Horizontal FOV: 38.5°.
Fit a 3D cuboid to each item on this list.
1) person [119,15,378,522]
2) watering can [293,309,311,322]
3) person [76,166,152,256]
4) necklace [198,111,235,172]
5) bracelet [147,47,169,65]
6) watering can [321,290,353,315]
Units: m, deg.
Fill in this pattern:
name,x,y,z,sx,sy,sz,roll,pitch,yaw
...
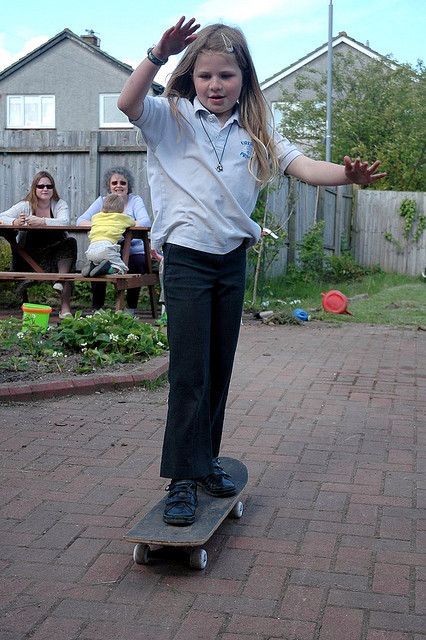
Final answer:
name,x,y,z,sx,sy,sz,roll,pitch,yaw
person,0.014,-0.178,2.115,0.713,1.632,0.396,-6,11,-38
watering can,1.089,-0.055,7.404,0.178,0.054,0.130,29,42,12
person,-1.171,-1.199,7.053,0.925,1.047,0.707,-4,11,-28
necklace,0.023,-0.586,2.018,0.129,0.203,0.110,-1,8,-14
bracelet,-0.170,-0.812,1.867,0.059,0.067,0.088,0,7,-6
watering can,1.607,-0.222,7.904,0.402,0.293,0.236,3,8,17
